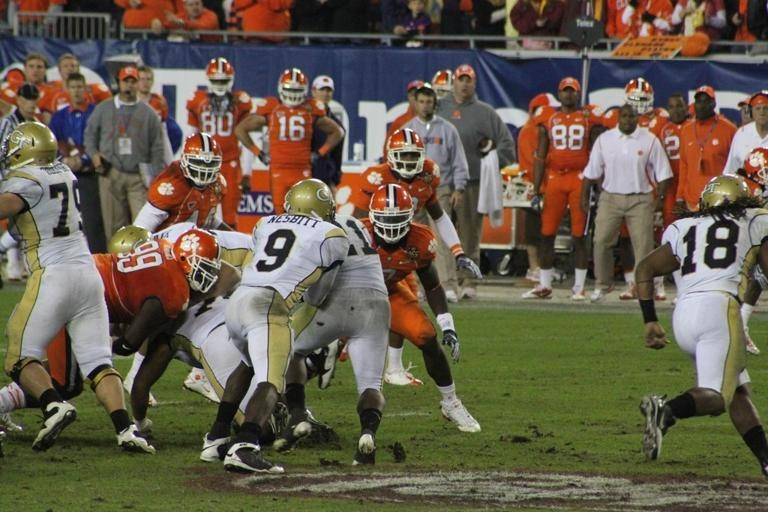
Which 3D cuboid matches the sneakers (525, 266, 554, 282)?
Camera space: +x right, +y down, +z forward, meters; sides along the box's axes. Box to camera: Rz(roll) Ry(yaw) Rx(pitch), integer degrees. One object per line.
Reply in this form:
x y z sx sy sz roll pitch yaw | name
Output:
1.872 0.231 16.723 0.401 0.187 0.152 -4 -2 34 | sneakers

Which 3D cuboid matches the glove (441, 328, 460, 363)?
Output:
0.532 0.727 11.189 0.176 0.281 0.085 -10 -7 -34 | glove

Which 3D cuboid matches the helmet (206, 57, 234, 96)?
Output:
-1.907 -2.092 15.511 0.314 0.407 0.443 -1 32 -7 | helmet

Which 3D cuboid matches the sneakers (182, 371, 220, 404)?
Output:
-1.561 1.123 11.478 0.341 0.239 0.118 29 48 15 | sneakers

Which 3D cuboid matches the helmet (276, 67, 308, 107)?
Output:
-1.040 -1.920 15.141 0.315 0.453 0.390 0 -31 -5 | helmet

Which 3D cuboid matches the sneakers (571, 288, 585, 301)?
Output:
2.235 0.440 15.574 0.121 0.147 0.339 -1 -4 6 | sneakers

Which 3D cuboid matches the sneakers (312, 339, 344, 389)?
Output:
-0.467 0.907 11.251 0.191 0.255 0.389 -16 -21 -26 | sneakers

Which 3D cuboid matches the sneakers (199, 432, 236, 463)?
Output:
-1.289 1.455 10.225 0.119 0.157 0.335 2 5 11 | sneakers

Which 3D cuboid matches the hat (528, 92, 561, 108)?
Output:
1.974 -1.931 16.653 0.302 0.095 0.198 3 21 -2 | hat

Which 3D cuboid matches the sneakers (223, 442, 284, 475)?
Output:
-0.992 1.486 9.978 0.505 0.239 0.181 6 -2 -10 | sneakers

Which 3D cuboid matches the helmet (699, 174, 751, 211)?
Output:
2.613 -0.533 10.487 0.282 0.263 0.340 1 -16 -38 | helmet

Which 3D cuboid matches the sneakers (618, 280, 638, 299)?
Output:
2.835 0.418 15.729 0.159 0.234 0.494 -4 -8 21 | sneakers

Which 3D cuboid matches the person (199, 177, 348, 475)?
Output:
-0.831 0.527 10.172 1.160 2.053 0.631 -11 16 -44 | person

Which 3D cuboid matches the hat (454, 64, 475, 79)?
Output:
0.917 -2.142 15.547 0.197 0.145 0.286 1 -4 1 | hat

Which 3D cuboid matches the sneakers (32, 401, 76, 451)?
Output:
-2.526 1.302 10.288 0.378 0.136 0.186 -45 4 -2 | sneakers

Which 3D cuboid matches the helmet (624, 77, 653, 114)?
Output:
2.894 -1.805 15.321 0.302 0.383 0.392 7 34 10 | helmet

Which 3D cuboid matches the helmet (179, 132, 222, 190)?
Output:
-1.605 -0.888 11.921 0.332 0.438 0.459 1 29 -19 | helmet

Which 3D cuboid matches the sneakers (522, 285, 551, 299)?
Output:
1.772 0.420 15.762 0.339 0.161 0.141 0 10 0 | sneakers

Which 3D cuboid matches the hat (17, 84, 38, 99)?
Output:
-3.881 -1.763 14.629 0.155 0.181 0.205 1 -12 -38 | hat

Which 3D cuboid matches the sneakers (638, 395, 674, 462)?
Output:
2.037 1.253 10.077 0.231 0.572 0.184 -5 7 -34 | sneakers

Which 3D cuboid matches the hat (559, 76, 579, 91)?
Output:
2.106 -1.948 15.366 0.205 0.136 0.201 -1 12 -4 | hat

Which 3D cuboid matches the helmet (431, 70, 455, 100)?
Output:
0.738 -2.049 16.190 0.262 0.341 0.325 8 -11 -32 | helmet

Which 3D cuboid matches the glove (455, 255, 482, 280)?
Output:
0.851 0.118 13.999 0.118 0.149 0.397 -29 -33 24 | glove

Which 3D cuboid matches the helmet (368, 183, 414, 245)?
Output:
0.041 -0.357 10.826 0.326 0.408 0.458 0 10 0 | helmet

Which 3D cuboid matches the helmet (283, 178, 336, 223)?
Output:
-0.576 -0.415 10.545 0.285 0.302 0.363 7 23 2 | helmet

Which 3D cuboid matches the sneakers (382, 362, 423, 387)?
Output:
0.145 1.077 12.320 0.409 0.174 0.154 5 7 3 | sneakers

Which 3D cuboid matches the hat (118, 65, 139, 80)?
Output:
-2.847 -2.012 14.915 0.180 0.147 0.257 2 6 -13 | hat

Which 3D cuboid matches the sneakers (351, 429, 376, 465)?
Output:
-0.162 1.446 10.236 0.177 0.248 0.197 -1 12 -4 | sneakers
